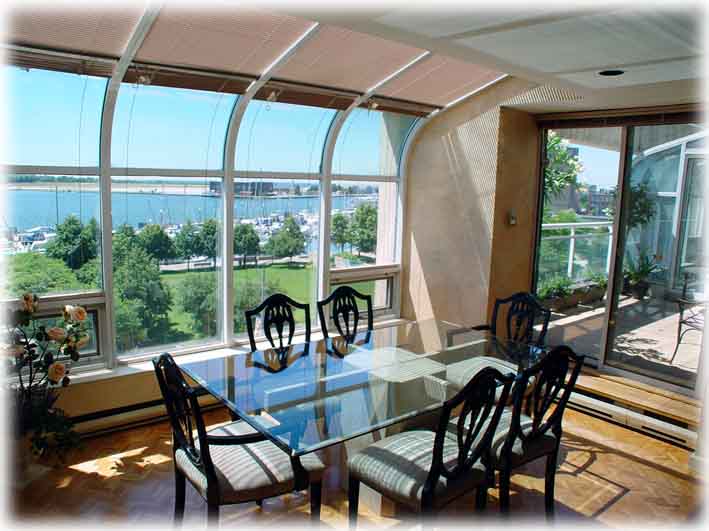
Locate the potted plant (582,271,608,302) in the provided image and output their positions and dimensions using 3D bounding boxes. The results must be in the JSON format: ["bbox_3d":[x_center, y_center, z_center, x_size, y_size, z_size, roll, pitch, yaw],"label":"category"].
[{"bbox_3d":[2.464,0.195,5.397,0.237,0.297,0.297,3,9,6],"label":"potted plant"}]

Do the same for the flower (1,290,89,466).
[{"bbox_3d":[-2.289,0.758,3.903,0.524,1.150,0.695,-5,5,-28],"label":"flower"}]

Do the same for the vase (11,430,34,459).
[{"bbox_3d":[-2.286,1.228,3.548,0.061,0.175,0.109,-2,4,13],"label":"vase"}]

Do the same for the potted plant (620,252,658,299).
[{"bbox_3d":[2.770,0.091,4.970,0.392,0.389,0.331,-2,12,-30],"label":"potted plant"}]
